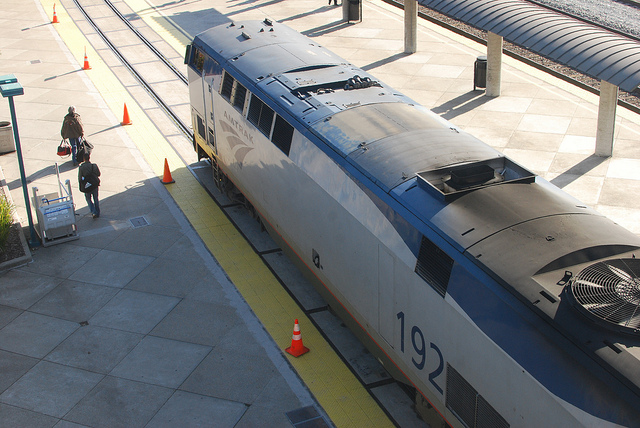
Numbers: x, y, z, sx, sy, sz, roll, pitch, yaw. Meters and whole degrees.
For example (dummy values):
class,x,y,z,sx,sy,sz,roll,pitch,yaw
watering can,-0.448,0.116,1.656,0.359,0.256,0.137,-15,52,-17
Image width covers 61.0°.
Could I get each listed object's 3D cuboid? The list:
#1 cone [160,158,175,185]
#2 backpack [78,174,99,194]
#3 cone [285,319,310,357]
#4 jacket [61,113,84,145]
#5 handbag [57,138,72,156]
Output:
class,x,y,z,sx,sy,sz,roll,pitch,yaw
cone,-5.370,-1.444,18.789,0.423,0.726,0.631,-17,37,-14
backpack,-7.004,-0.903,16.451,0.444,0.474,0.255,-30,65,-33
cone,-0.527,2.891,12.730,0.726,0.675,0.676,-3,6,-18
jacket,-8.785,-3.015,19.164,0.723,1.033,0.479,-24,40,-23
handbag,-9.603,-2.447,20.390,0.359,0.664,0.635,22,30,37
